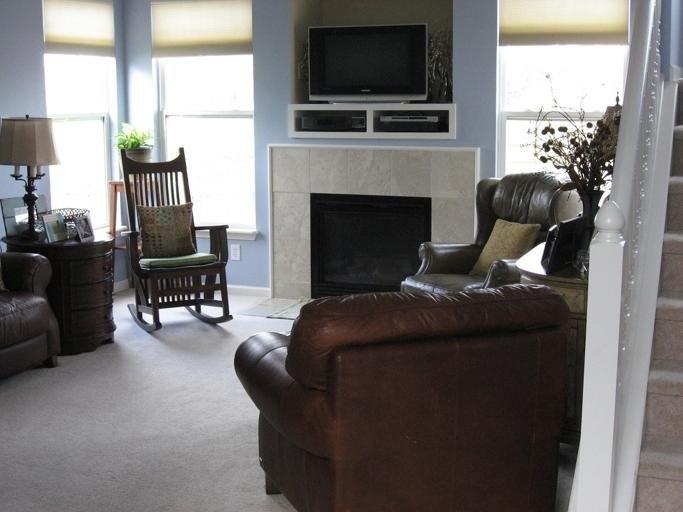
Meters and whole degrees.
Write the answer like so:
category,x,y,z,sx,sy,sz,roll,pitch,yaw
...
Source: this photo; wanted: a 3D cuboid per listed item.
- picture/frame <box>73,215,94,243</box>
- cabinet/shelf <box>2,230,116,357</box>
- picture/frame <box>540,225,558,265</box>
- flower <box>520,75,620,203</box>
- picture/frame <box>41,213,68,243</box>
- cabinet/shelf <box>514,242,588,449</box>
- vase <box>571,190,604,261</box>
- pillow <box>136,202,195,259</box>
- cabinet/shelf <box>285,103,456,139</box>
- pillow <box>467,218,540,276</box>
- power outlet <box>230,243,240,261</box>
category,x,y,z,sx,sy,sz,roll,pitch,yaw
picture/frame,-2.005,-0.203,4.337,0.064,0.194,0.187,-13,6,16
cabinet/shelf,-2.142,0.202,4.530,0.832,0.890,0.818,-8,11,-44
picture/frame,1.041,-0.053,2.804,0.056,0.183,0.183,7,52,18
flower,1.211,-0.490,2.771,0.421,0.480,0.365,-2,-9,-33
picture/frame,-2.195,-0.209,4.267,0.018,0.200,0.185,-3,15,16
cabinet/shelf,1.050,0.399,2.791,0.283,0.515,0.503,-2,-3,19
vase,1.183,-0.152,2.712,0.143,0.298,0.146,-11,7,-20
pillow,-1.505,-0.205,4.784,0.441,0.454,0.160,-4,-3,-25
cabinet/shelf,0.277,-1.264,5.245,1.593,0.341,0.260,2,12,14
pillow,1.138,-0.079,3.844,0.149,0.410,0.390,25,-17,-35
power outlet,-1.100,-0.047,5.794,0.146,0.210,0.020,6,13,25
